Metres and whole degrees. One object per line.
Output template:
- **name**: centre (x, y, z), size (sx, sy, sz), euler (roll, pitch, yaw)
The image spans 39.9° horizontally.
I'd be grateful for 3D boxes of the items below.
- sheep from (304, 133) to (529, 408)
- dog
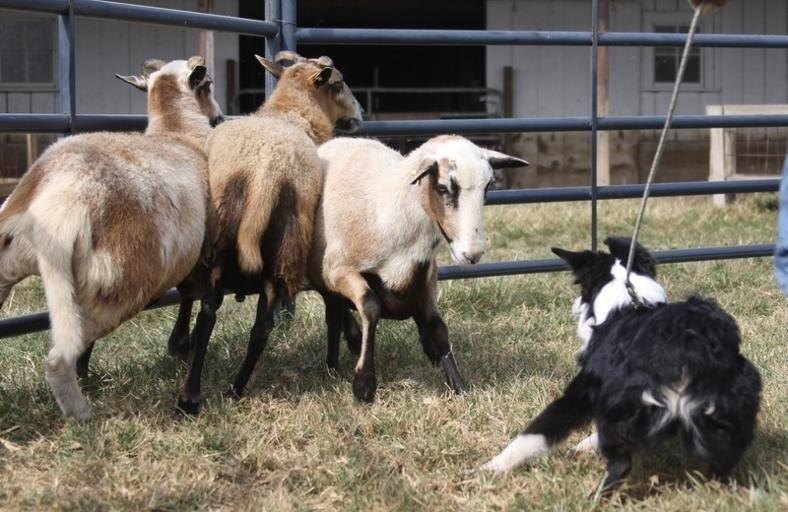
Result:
- **sheep**: centre (-0.087, -0.083, 8.904), size (0.954, 2.185, 2.706), euler (-1, 15, -29)
- **dog**: centre (1.934, 0.948, 9.082), size (1.191, 1.918, 3.669), euler (0, 4, -3)
